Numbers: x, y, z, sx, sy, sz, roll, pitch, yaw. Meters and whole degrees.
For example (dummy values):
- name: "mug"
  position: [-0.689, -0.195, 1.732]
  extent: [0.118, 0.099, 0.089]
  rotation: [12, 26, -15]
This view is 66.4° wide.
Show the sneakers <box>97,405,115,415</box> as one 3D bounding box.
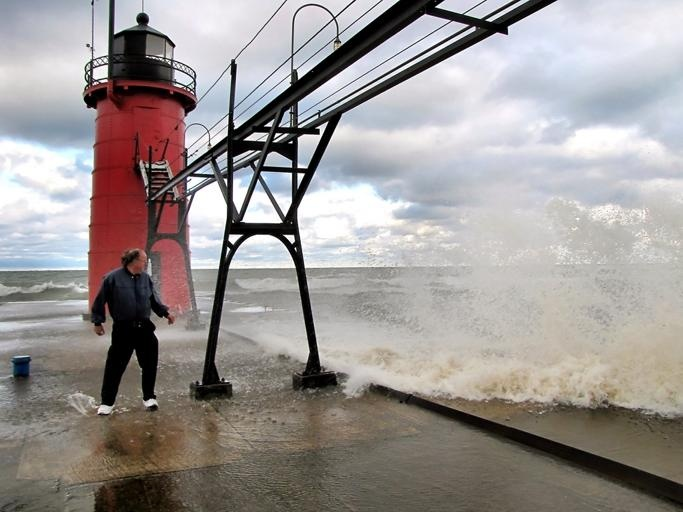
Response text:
- name: "sneakers"
  position: [-3.257, 2.108, 7.217]
  extent: [0.217, 0.145, 0.197]
  rotation: [-4, 8, -31]

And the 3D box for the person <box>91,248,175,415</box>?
- name: "person"
  position: [-2.934, 1.072, 7.315]
  extent: [1.003, 2.312, 1.045]
  rotation: [-1, 7, -6]
